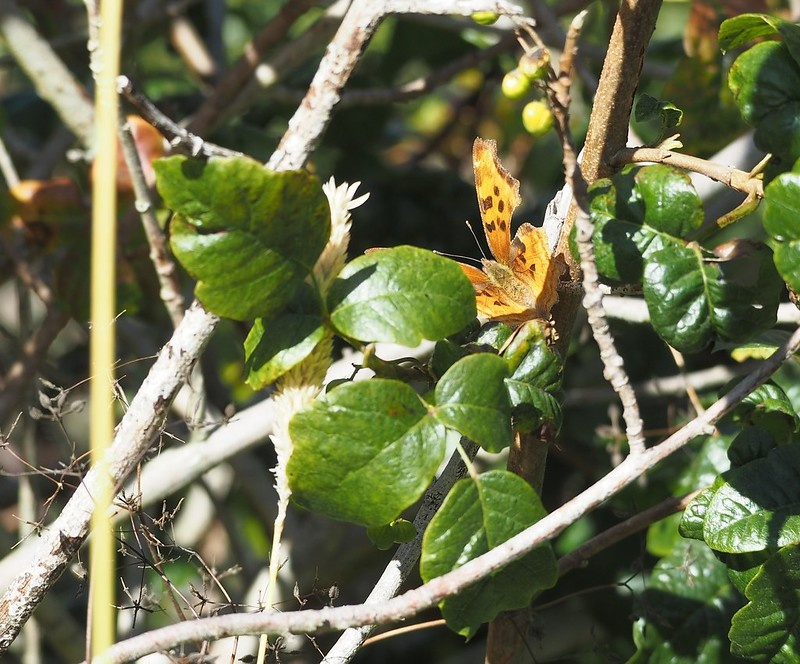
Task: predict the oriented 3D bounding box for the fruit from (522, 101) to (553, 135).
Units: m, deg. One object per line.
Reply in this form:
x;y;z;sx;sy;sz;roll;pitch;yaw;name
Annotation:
0.140;-0.218;1.244;0.030;0.033;0.037;6;50;3;fruit

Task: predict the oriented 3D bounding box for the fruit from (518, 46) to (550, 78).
0.131;-0.262;1.168;0.018;0.029;0.030;43;21;-14;fruit
